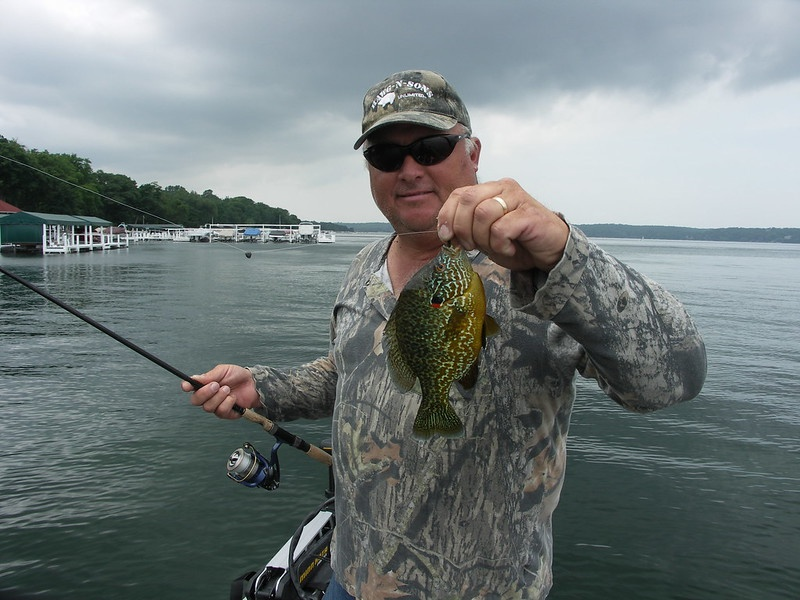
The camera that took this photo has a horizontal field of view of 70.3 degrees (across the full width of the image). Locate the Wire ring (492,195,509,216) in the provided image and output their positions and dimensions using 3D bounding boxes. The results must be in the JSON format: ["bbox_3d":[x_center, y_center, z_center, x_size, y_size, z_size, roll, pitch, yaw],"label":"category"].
[{"bbox_3d":[0.424,-0.388,2.370,0.016,0.064,0.065,-33,21,16],"label":"Wire ring"}]

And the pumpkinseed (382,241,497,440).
[{"bbox_3d":[0.194,0.198,2.713,0.529,0.887,0.308,1,13,-3],"label":"pumpkinseed"}]
